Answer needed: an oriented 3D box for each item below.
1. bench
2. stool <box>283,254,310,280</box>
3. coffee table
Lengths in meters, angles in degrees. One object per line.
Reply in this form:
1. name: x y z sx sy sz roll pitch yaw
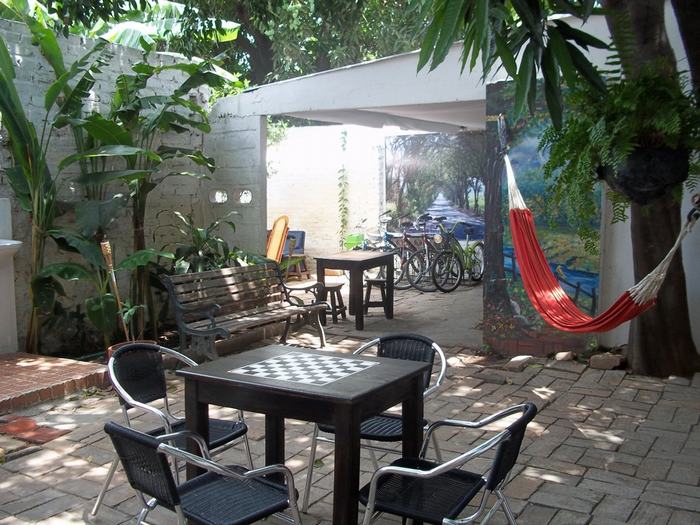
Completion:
1. bench: -1.112 0.629 6.034 0.941 0.992 2.148 6 6 25
2. stool: -1.119 0.087 10.865 0.607 0.487 0.571 -4 5 -29
3. coffee table: 0.023 0.217 8.183 1.185 1.296 1.550 3 8 29
